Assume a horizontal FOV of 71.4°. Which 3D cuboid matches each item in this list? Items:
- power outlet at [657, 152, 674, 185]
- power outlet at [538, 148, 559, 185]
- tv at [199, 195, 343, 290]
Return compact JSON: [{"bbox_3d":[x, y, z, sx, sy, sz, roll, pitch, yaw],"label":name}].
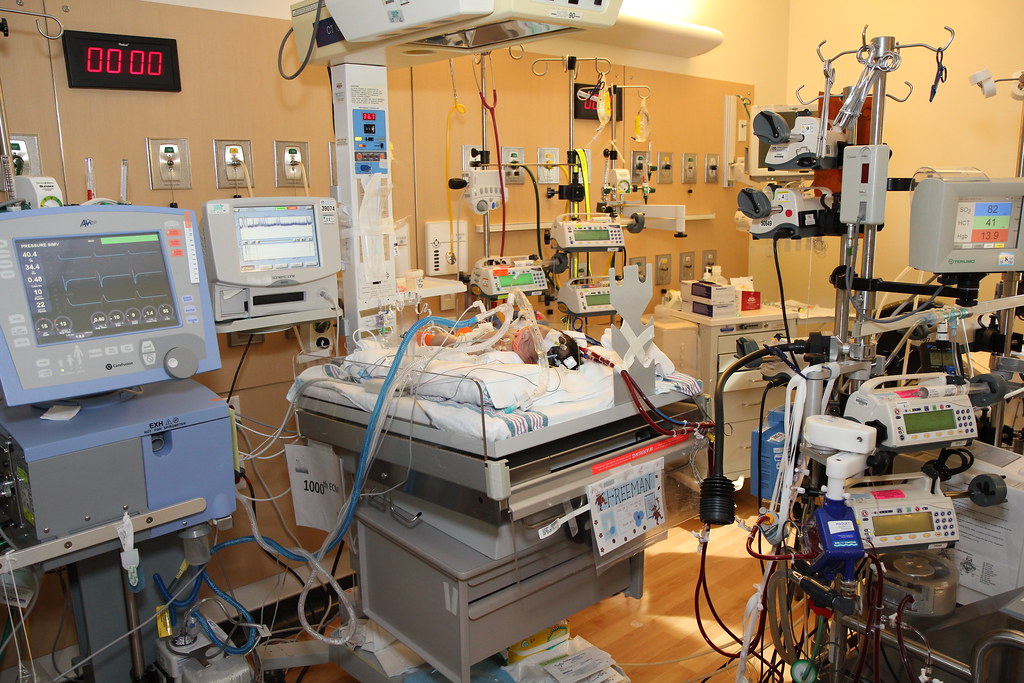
[{"bbox_3d":[1.083,-1.216,5.004,0.148,0.215,0.032,-17,20,-42],"label":"power outlet"},{"bbox_3d":[0.220,-1.098,4.439,0.211,0.276,0.029,-8,13,-39],"label":"power outlet"},{"bbox_3d":[-0.966,-0.408,2.924,0.652,0.455,0.344,-6,8,-38],"label":"tv"}]
